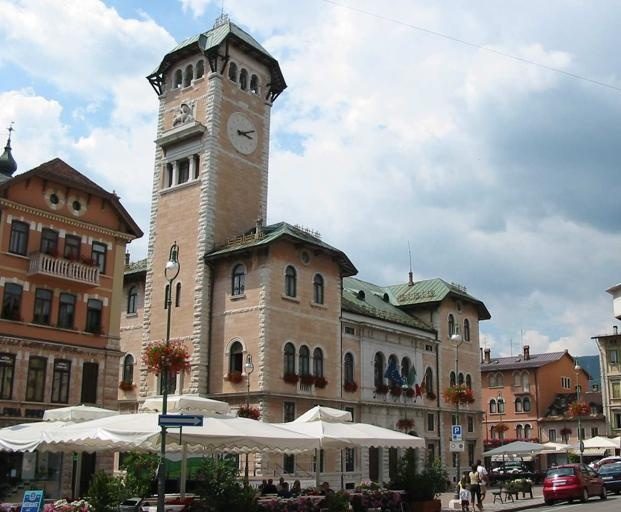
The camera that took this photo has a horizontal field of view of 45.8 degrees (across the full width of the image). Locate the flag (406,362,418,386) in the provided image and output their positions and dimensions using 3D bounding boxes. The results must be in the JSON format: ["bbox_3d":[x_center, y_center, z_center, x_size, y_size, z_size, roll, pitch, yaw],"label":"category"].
[{"bbox_3d":[7.805,9.367,57.066,0.527,1.829,1.480,-7,-23,15],"label":"flag"}]

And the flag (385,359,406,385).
[{"bbox_3d":[6.256,8.838,55.181,0.293,1.651,1.763,-11,-19,35],"label":"flag"}]
